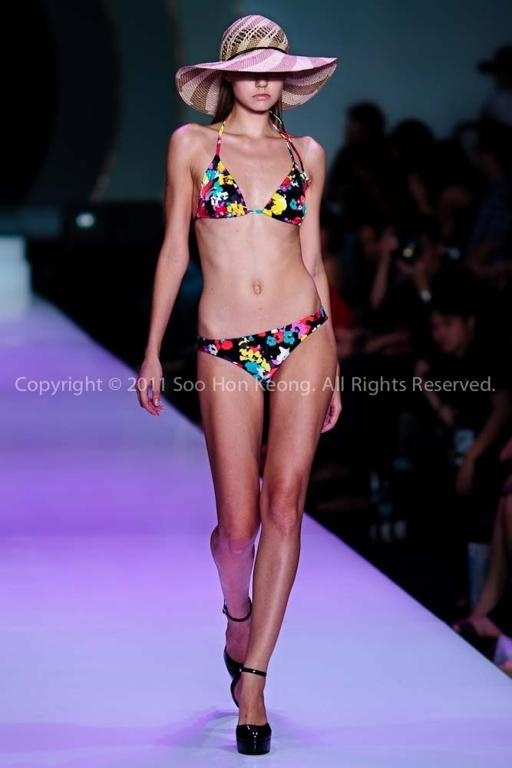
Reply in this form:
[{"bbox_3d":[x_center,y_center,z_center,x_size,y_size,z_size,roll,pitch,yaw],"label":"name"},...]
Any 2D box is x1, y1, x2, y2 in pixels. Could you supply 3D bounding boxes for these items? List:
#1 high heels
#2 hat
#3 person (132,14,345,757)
[{"bbox_3d":[-0.024,0.587,1.556,0.065,0.063,0.264,-2,27,-6],"label":"high heels"},{"bbox_3d":[-0.003,-0.685,1.779,0.343,0.149,0.314,0,-7,-6],"label":"hat"},{"bbox_3d":[-0.027,-0.059,1.689,0.403,1.425,0.670,2,5,6],"label":"person"}]
